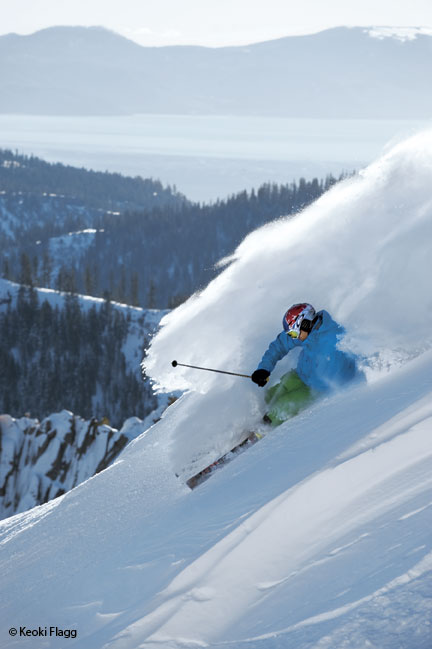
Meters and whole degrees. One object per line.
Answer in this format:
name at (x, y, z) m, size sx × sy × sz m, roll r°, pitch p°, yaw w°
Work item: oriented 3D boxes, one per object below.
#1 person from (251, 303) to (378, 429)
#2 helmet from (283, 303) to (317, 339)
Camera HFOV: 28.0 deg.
person at (1.202, 0.729, 11.598) m, size 1.476 × 2.014 × 0.971 m, roll -1°, pitch 15°, yaw -6°
helmet at (1.111, -0.042, 11.267) m, size 0.452 × 0.426 × 0.365 m, roll -26°, pitch 8°, yaw 13°
